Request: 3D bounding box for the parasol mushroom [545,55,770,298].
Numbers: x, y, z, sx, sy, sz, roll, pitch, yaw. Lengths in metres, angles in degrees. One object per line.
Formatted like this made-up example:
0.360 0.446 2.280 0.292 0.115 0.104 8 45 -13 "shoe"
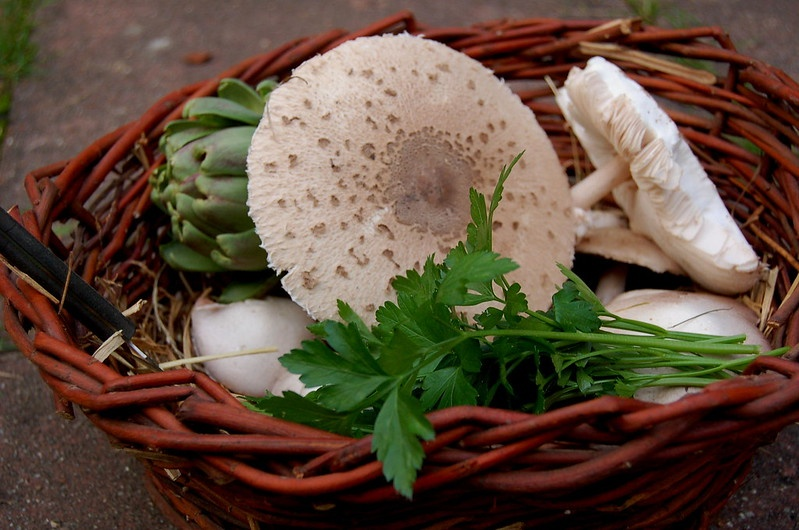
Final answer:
0.583 -0.210 1.791 0.577 0.461 0.171 41 -80 -21 "parasol mushroom"
